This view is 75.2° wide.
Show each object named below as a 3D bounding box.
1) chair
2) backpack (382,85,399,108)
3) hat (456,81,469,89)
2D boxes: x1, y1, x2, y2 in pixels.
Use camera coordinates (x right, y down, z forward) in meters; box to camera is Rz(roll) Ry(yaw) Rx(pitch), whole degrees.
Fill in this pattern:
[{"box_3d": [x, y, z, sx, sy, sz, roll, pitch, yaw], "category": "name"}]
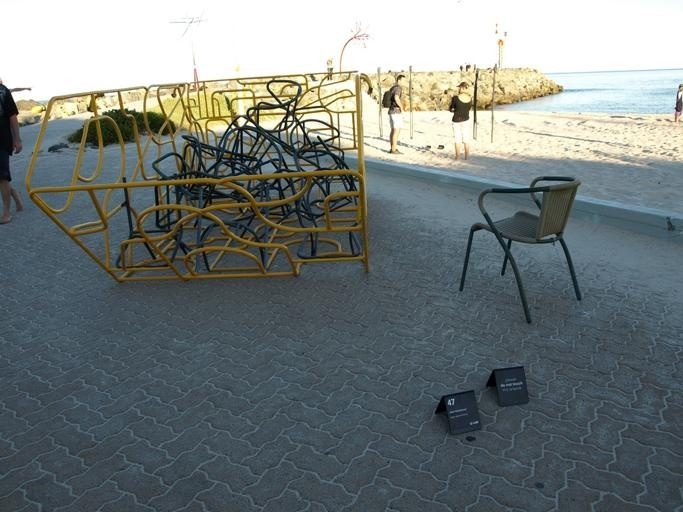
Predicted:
[{"box_3d": [1.480, -0.158, 3.679, 0.821, 0.872, 0.826, -11, 18, -21], "category": "chair"}, {"box_3d": [1.081, -3.621, 10.093, 0.300, 0.493, 0.541, -3, 21, 3], "category": "backpack"}, {"box_3d": [2.550, -3.592, 9.308, 0.178, 0.175, 0.502, 2, 19, 14], "category": "hat"}]
